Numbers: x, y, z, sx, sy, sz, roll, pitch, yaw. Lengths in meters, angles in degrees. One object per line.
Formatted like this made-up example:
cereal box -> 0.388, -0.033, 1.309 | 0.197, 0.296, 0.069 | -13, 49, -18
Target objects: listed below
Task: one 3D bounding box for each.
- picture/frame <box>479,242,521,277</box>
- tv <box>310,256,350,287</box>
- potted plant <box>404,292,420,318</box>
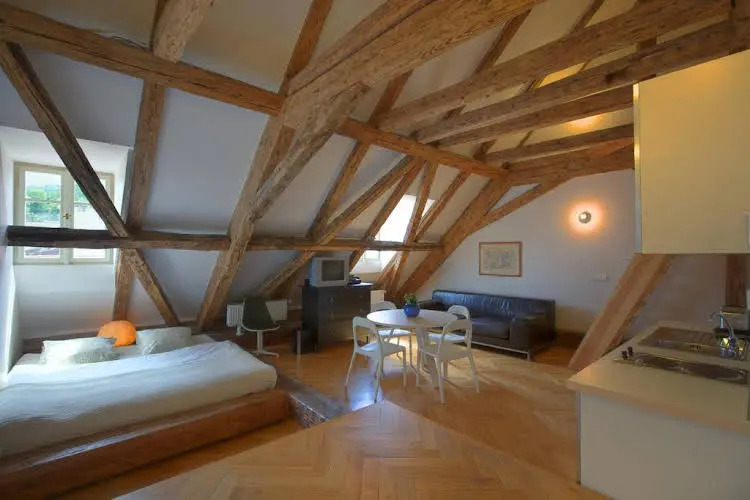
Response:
picture/frame -> 2.312, 0.162, 8.154 | 0.736, 0.512, 0.033 | 0, -2, 41
tv -> -0.703, 0.340, 7.129 | 0.690, 0.492, 0.473 | 0, -1, -41
potted plant -> 0.457, 0.738, 5.823 | 0.289, 0.334, 0.270 | 0, -7, -3
